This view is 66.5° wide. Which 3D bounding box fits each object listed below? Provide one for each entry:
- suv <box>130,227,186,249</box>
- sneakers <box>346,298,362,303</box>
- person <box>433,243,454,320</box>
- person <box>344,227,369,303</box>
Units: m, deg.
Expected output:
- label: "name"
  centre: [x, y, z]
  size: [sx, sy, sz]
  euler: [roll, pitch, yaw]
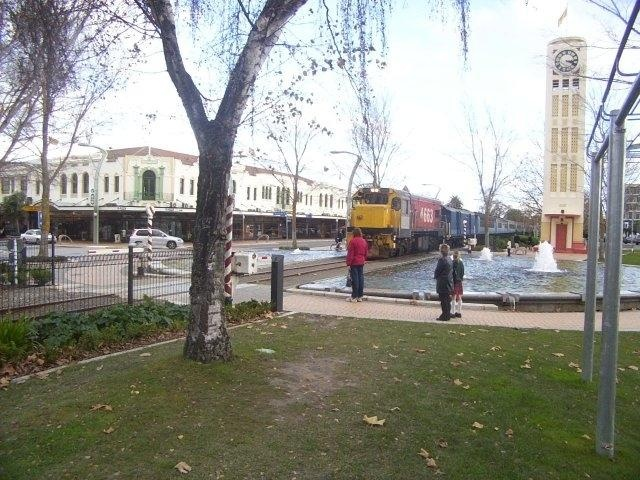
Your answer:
- label: "suv"
  centre: [-13.236, -0.134, 39.508]
  size: [3.557, 1.416, 5.079]
  euler: [-4, 9, -33]
- label: "sneakers"
  centre: [0.967, 1.668, 13.781]
  size: [0.357, 0.177, 0.139]
  euler: [4, 5, 13]
- label: "person"
  centre: [2.946, 0.975, 11.665]
  size: [0.448, 1.829, 0.751]
  euler: [3, 7, 15]
- label: "person"
  centre: [1.035, 0.684, 13.804]
  size: [0.497, 2.068, 0.833]
  euler: [1, 7, 5]
